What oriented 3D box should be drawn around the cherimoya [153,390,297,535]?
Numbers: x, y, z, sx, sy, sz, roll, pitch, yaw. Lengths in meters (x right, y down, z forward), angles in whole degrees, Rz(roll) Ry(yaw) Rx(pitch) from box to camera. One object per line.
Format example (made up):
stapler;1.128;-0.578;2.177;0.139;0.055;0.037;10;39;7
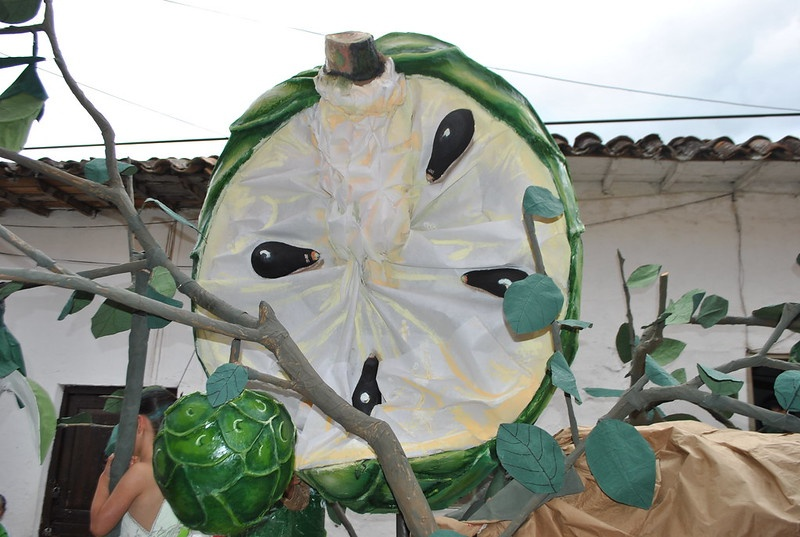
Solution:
cherimoya;-0.520;0.609;2.574;0.421;0.408;0.428;-2;-19;-12
